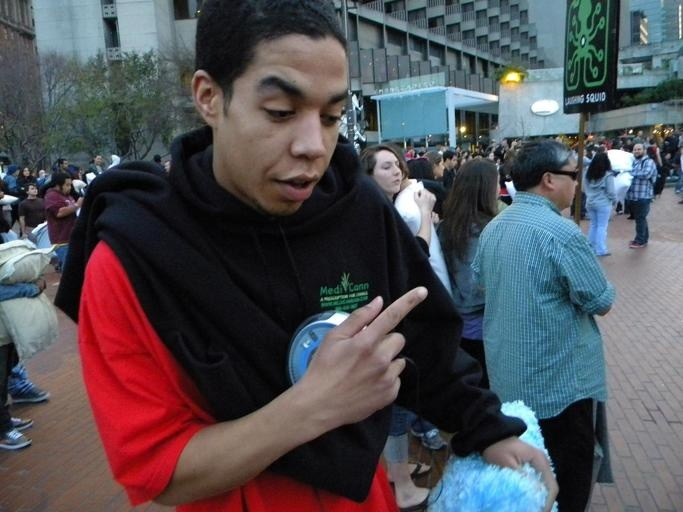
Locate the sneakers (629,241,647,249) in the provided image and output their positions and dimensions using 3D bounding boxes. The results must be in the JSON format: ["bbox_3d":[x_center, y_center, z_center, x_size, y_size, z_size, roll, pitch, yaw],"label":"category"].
[{"bbox_3d":[6.894,-0.262,11.808,0.440,0.217,0.169,3,5,4],"label":"sneakers"}]

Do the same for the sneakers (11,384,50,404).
[{"bbox_3d":[-3.355,1.485,5.559,0.382,0.203,0.176,0,2,-8],"label":"sneakers"}]
